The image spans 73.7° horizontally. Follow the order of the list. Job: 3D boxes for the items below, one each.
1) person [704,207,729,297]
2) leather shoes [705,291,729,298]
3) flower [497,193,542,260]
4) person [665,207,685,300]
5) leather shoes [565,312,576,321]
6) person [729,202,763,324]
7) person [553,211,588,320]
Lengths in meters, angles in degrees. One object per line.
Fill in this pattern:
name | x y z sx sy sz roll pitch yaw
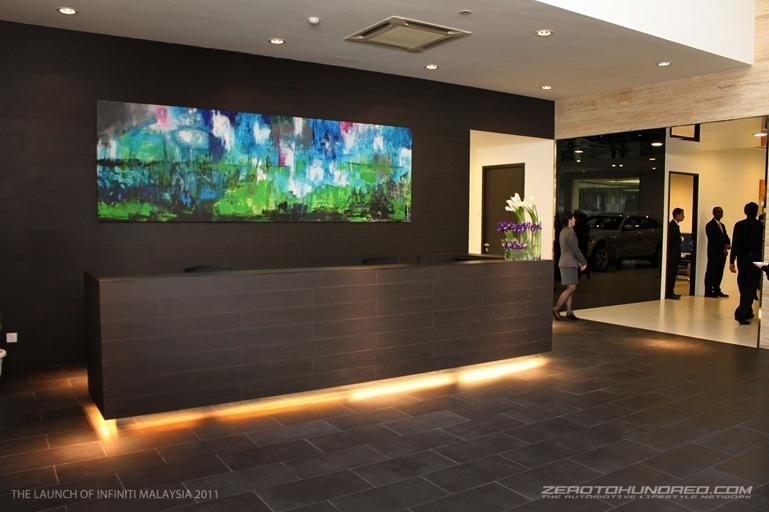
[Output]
person | 6.460 -0.026 9.964 0.446 1.866 0.991 6 10 33
leather shoes | 6.760 0.781 10.446 0.412 0.144 0.124 -2 -2 28
flower | 1.939 -0.393 6.970 0.536 0.812 0.518 -18 -1 36
person | 5.831 -0.032 10.326 0.296 1.845 0.518 6 10 33
leather shoes | 3.385 1.092 9.363 0.221 0.118 0.108 -3 6 -23
person | 5.852 0.168 8.333 0.420 2.091 0.894 6 10 33
person | 3.413 0.187 9.382 0.472 1.901 0.699 4 9 21
